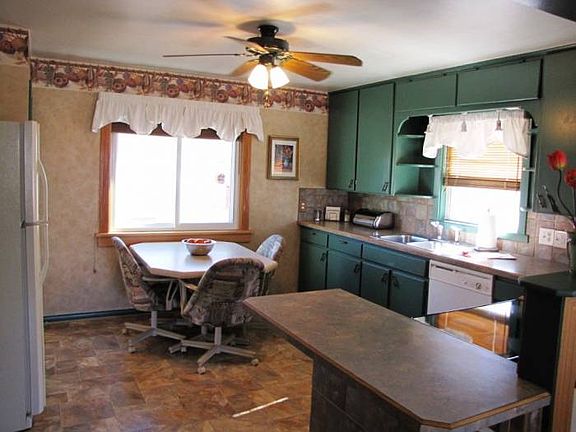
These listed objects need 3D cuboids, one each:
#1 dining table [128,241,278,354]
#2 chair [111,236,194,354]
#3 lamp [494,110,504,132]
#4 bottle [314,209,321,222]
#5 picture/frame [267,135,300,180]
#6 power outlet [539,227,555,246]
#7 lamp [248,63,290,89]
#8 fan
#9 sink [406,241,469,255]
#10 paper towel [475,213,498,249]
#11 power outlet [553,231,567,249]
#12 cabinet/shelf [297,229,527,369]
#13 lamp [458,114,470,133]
[{"bbox_3d":[-0.849,0.480,4.166,1.050,0.711,1.397,1,5,-24],"label":"dining table"},{"bbox_3d":[-1.238,0.677,4.528,0.993,1.224,0.954,-1,5,-30],"label":"chair"},{"bbox_3d":[1.804,-0.806,3.826,0.045,0.180,0.082,-2,13,-21],"label":"lamp"},{"bbox_3d":[0.371,-0.006,5.655,0.127,0.151,0.092,-5,8,-43],"label":"bottle"},{"bbox_3d":[-0.075,-0.726,5.430,0.591,0.676,0.049,0,2,-29],"label":"picture/frame"},{"bbox_3d":[2.100,0.163,3.621,0.022,0.202,0.158,1,0,-27],"label":"power outlet"},{"bbox_3d":[-0.159,-0.980,3.165,0.245,0.154,0.220,-5,13,-33],"label":"lamp"},{"bbox_3d":[-0.046,-1.114,3.160,0.807,0.225,0.782,1,-1,-5],"label":"fan"},{"bbox_3d":[1.467,0.294,4.266,0.222,0.095,0.258,-5,7,-22],"label":"sink"},{"bbox_3d":[1.772,0.146,4.034,0.249,0.313,0.231,1,2,-36],"label":"paper towel"},{"bbox_3d":[2.157,0.187,3.521,0.058,0.141,0.131,2,12,-5],"label":"power outlet"},{"bbox_3d":[1.025,0.648,4.454,0.375,0.815,2.322,-12,18,-40],"label":"cabinet/shelf"},{"bbox_3d":[1.623,-0.854,4.131,0.030,0.173,0.077,-8,16,-41],"label":"lamp"}]
